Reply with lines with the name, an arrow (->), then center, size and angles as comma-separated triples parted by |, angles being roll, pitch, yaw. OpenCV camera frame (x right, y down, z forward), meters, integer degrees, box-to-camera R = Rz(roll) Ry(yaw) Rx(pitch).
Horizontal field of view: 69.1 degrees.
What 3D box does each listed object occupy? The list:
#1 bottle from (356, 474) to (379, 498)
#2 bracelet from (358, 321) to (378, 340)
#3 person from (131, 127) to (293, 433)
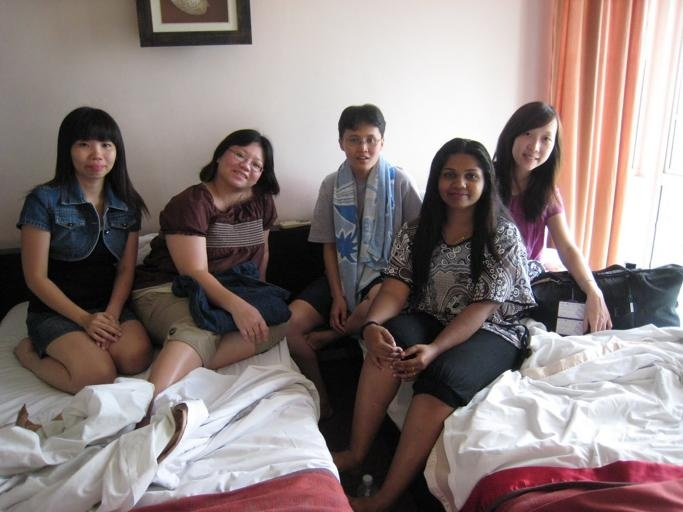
bottle -> 0.102, 0.942, 2.017 | 0.074, 0.091, 0.086 | -9, 41, -10
bracelet -> 0.112, 0.319, 2.126 | 0.069, 0.088, 0.033 | 3, -15, 33
person -> -0.602, 0.099, 2.226 | 0.581, 0.813, 1.049 | 23, 18, 26
